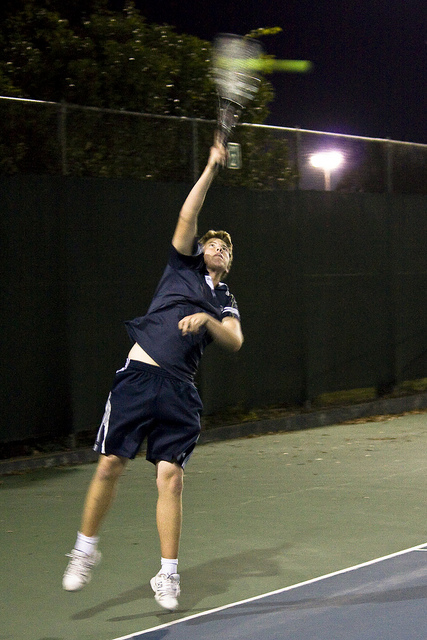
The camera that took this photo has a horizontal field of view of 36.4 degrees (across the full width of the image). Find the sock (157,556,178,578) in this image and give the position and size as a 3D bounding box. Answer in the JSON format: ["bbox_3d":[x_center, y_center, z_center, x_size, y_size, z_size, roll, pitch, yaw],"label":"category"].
[{"bbox_3d":[-0.176,0.946,2.502,0.068,0.061,0.063,0,0,-7],"label":"sock"}]

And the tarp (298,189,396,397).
[{"bbox_3d":[1.710,-0.351,8.249,1.749,2.686,0.093,0,0,-37],"label":"tarp"}]

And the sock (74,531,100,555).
[{"bbox_3d":[-0.504,0.883,2.582,0.075,0.066,0.082,26,-16,-20],"label":"sock"}]
